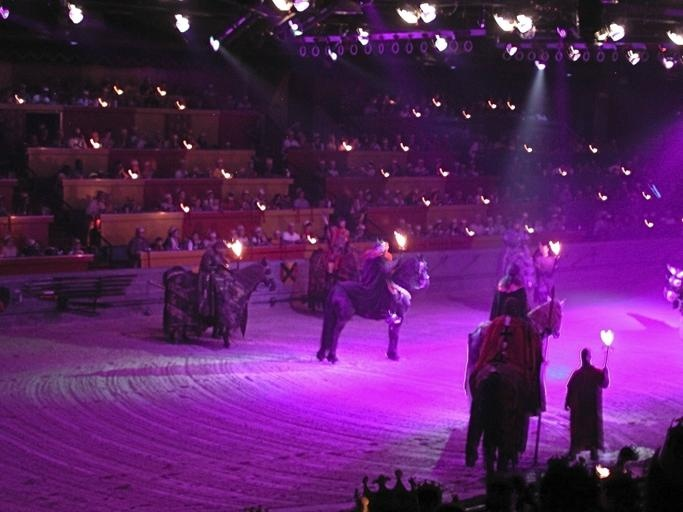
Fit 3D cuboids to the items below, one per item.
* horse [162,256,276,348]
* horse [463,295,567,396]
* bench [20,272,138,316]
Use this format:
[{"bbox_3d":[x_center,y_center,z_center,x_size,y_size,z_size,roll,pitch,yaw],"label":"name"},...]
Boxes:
[{"bbox_3d":[-2.746,1.055,16.268,2.157,1.707,1.102,-2,10,-18],"label":"horse"},{"bbox_3d":[2.719,1.281,11.405,2.054,1.116,0.547,-7,2,-38],"label":"horse"},{"bbox_3d":[-6.434,0.995,18.383,2.296,0.866,0.813,-1,21,-31],"label":"bench"}]
